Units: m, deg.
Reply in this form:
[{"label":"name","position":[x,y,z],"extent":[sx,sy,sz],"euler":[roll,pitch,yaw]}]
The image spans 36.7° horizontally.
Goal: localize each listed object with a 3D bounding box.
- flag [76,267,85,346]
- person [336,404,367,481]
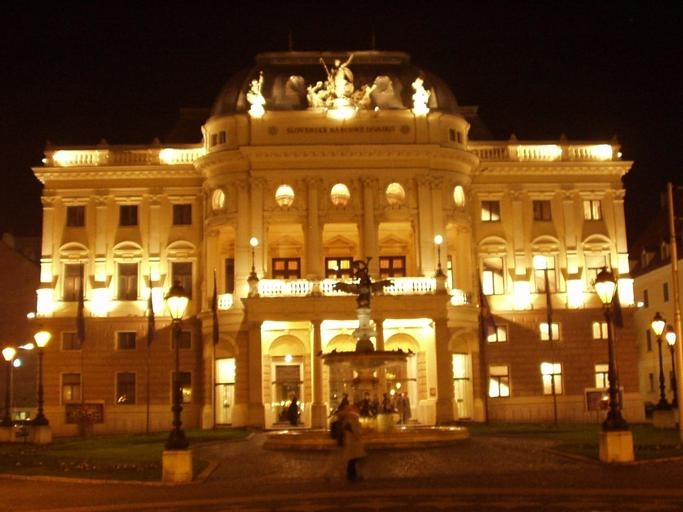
[{"label":"flag","position":[-17.277,3.207,68.143],"extent":[0.646,5.275,2.324],"euler":[3,-13,-13]},{"label":"person","position":[0.271,6.856,37.579],"extent":[0.981,2.602,1.184],"euler":[1,-4,-6]}]
